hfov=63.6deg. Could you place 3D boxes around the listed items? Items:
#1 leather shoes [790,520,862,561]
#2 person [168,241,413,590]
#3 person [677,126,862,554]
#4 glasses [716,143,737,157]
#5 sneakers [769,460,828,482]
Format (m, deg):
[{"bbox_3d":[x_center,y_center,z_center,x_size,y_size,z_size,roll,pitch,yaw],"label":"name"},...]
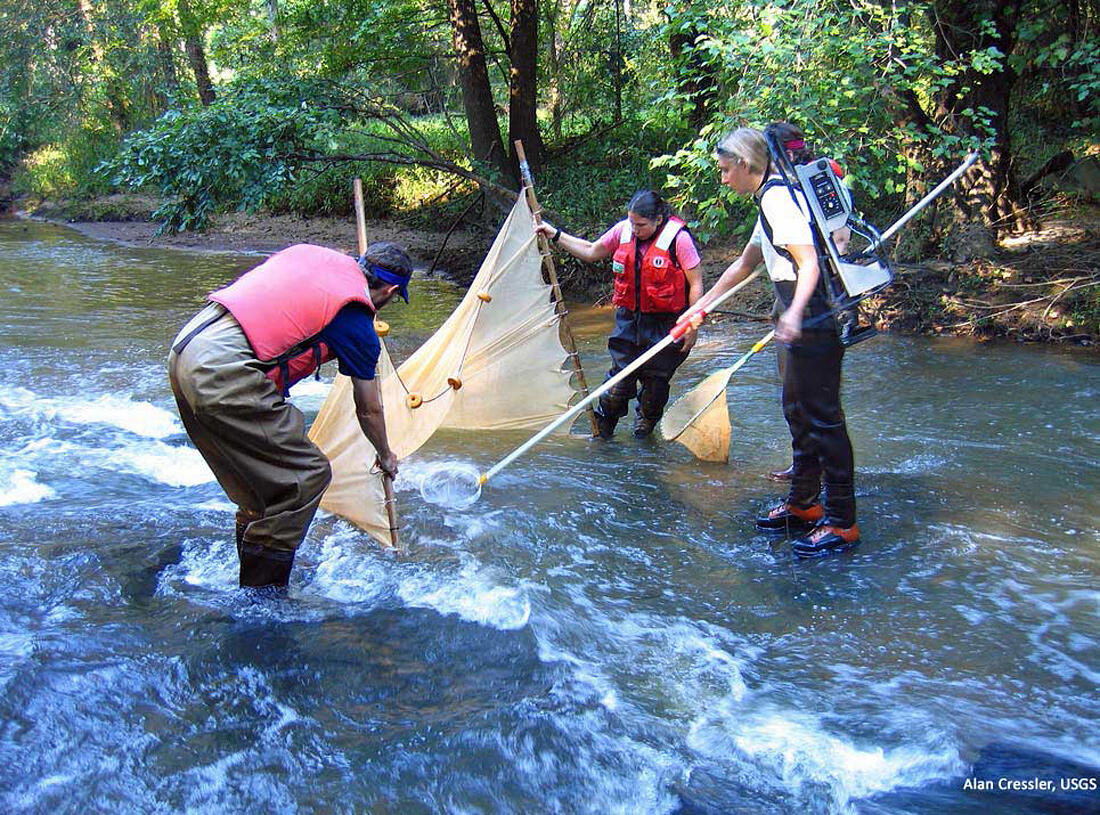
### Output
[{"bbox_3d":[1.745,0.821,5.537,0.396,0.153,0.189,-3,10,-2],"label":"leather shoes"},{"bbox_3d":[-1.404,0.083,4.685,1.065,1.861,0.355,-3,12,-20],"label":"person"},{"bbox_3d":[1.458,-0.403,5.478,0.898,2.541,1.001,-6,13,-31],"label":"person"},{"bbox_3d":[1.050,-1.502,5.153,0.088,0.037,0.105,42,35,17],"label":"glasses"},{"bbox_3d":[1.875,0.478,6.593,0.345,0.209,0.115,2,2,22],"label":"sneakers"}]
